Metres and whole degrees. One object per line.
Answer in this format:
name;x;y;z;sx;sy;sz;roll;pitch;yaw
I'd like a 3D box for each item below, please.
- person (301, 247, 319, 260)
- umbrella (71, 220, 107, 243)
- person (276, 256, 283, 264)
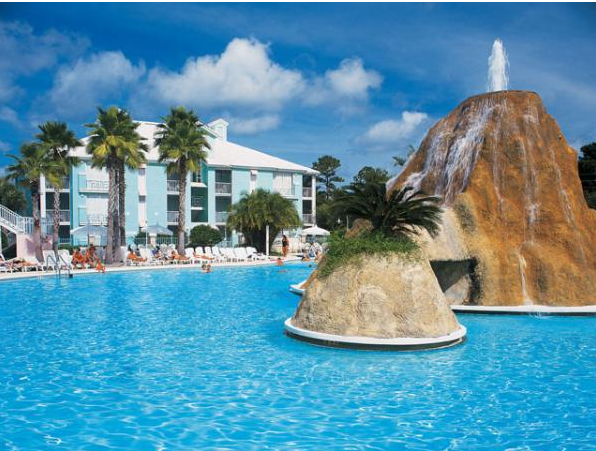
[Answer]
person;0.851;2.075;35.842;1.073;0.541;1.474;0;-2;-3
umbrella;-16.619;0.581;38.820;1.792;1.379;1.819;0;-2;4
person;-1.169;2.236;31.355;0.377;0.413;1.074;-1;2;-3
